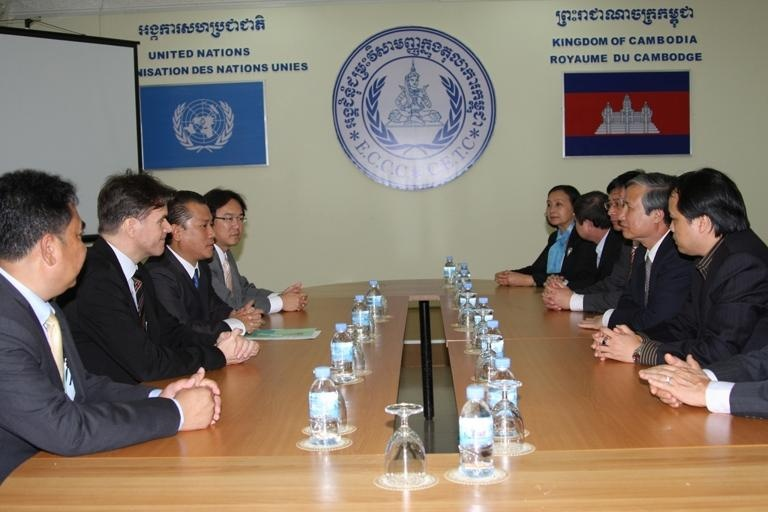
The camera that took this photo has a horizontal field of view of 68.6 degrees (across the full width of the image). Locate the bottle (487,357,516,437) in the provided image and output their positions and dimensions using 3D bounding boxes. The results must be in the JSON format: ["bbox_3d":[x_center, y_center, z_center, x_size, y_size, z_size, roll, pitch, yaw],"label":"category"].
[{"bbox_3d":[0.436,0.493,2.127,0.117,0.207,0.117,2,-4,0],"label":"bottle"}]

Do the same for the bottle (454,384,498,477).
[{"bbox_3d":[0.283,0.551,1.756,0.114,0.243,0.132,0,8,11],"label":"bottle"}]

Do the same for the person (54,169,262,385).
[{"bbox_3d":[-1.195,0.103,2.887,1.058,0.905,0.692,7,5,-20],"label":"person"}]

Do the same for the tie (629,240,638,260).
[{"bbox_3d":[1.806,-0.043,4.088,0.057,0.143,0.108,8,3,22],"label":"tie"}]

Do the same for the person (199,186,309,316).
[{"bbox_3d":[-1.124,0.005,4.401,0.936,0.921,0.616,3,3,7],"label":"person"}]

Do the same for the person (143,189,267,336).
[{"bbox_3d":[-1.156,0.115,3.545,0.720,0.954,0.738,-1,13,-39],"label":"person"}]
